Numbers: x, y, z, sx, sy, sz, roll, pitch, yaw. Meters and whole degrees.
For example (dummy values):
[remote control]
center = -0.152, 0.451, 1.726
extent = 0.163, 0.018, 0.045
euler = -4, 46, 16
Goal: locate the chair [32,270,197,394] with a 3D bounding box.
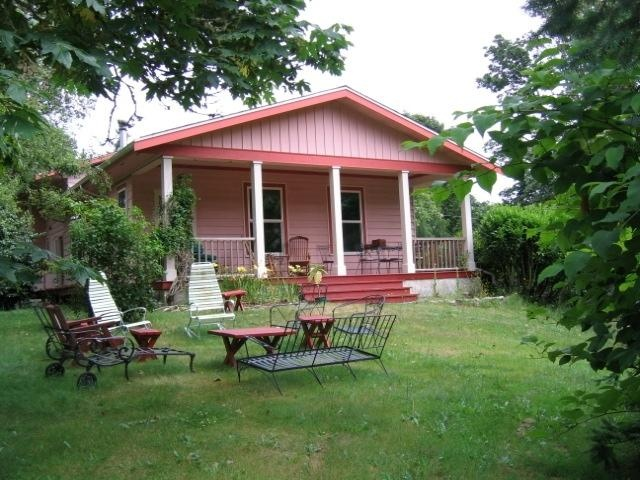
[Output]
[chair]
center = -3.219, 1.317, 7.625
extent = 1.616, 1.104, 3.212
euler = 0, 4, -21
